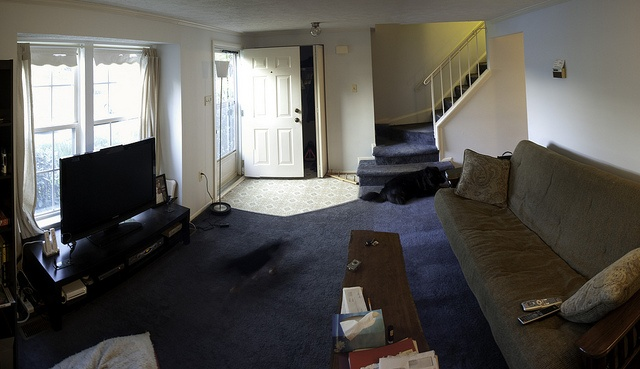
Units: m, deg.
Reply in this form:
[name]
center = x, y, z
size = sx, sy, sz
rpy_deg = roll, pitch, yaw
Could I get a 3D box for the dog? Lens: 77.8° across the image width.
[dog]
center = 1.487, 0.052, 6.951
size = 1.459, 0.603, 0.525
rpy_deg = -8, 4, -13

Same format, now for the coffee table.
[coffee table]
center = 0.550, 1.177, 4.212
size = 0.774, 0.422, 1.806
rpy_deg = 1, 47, 0

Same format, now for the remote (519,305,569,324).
[remote]
center = 2.015, 1.175, 3.580
size = 0.386, 0.041, 0.171
rpy_deg = -21, 18, -5

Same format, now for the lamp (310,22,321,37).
[lamp]
center = -0.079, -2.685, 6.814
size = 0.145, 0.186, 0.305
rpy_deg = 0, 19, 3
